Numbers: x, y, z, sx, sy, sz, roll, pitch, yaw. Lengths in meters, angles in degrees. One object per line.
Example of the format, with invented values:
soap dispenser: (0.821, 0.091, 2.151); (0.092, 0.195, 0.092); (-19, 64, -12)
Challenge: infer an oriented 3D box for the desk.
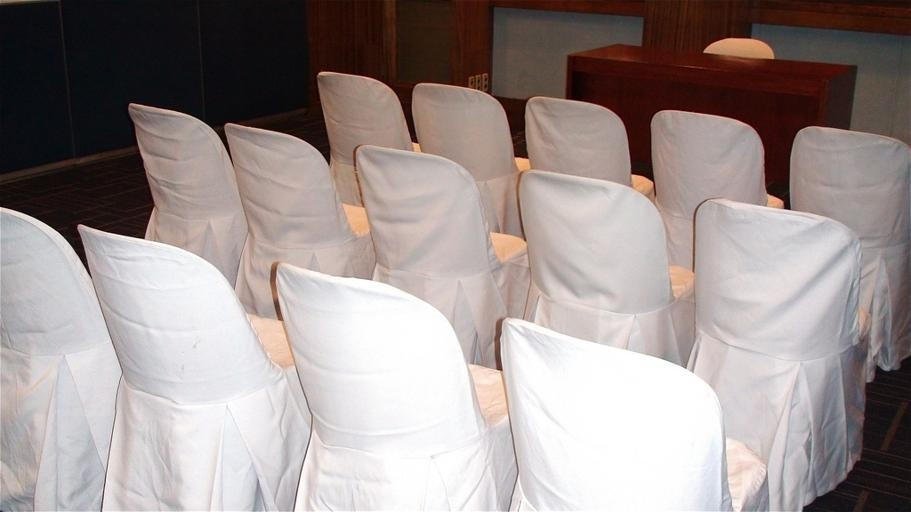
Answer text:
desk: (2.201, -1.201, 5.493); (2.251, 1.228, 1.054); (14, 24, 29)
